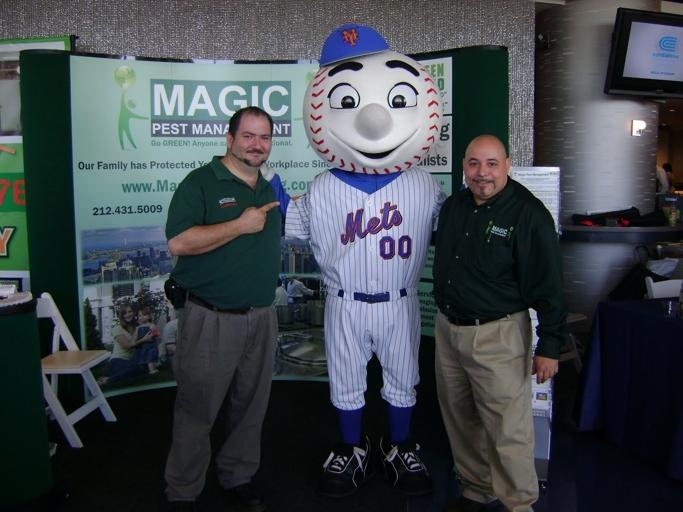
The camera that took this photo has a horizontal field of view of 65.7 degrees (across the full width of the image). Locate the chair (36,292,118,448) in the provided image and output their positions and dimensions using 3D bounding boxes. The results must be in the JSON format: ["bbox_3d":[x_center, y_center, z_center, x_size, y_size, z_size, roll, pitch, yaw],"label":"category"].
[{"bbox_3d":[-1.799,0.713,3.588,0.413,0.922,0.667,-7,11,-30],"label":"chair"}]

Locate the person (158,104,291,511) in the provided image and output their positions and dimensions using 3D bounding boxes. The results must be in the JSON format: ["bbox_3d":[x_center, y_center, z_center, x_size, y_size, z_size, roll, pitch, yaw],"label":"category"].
[{"bbox_3d":[-0.641,0.295,2.802,0.671,2.128,0.440,-2,10,-7],"label":"person"}]

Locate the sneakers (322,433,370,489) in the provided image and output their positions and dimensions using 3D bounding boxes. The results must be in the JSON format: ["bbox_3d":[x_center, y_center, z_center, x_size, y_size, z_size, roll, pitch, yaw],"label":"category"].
[{"bbox_3d":[0.033,1.186,3.030,0.172,0.144,0.301,4,18,27],"label":"sneakers"}]
